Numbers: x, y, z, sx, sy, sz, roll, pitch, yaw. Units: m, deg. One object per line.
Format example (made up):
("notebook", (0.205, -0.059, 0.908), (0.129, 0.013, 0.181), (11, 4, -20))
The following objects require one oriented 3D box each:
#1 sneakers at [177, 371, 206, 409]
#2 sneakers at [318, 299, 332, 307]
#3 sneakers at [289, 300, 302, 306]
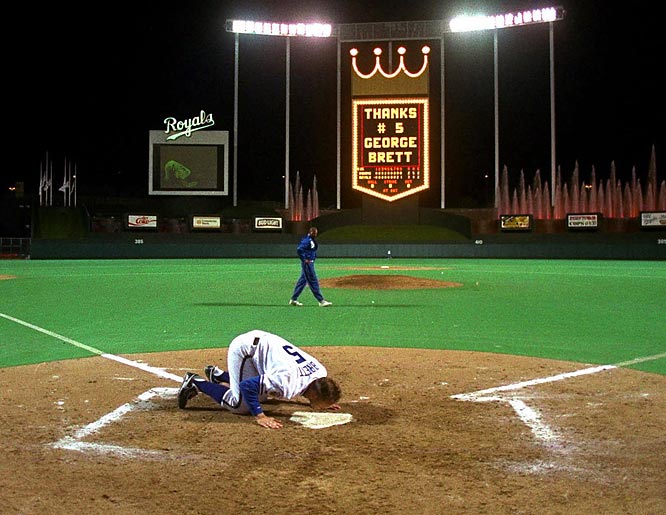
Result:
("sneakers", (-1.609, 1.462, 7.931), (0.204, 0.480, 0.172), (25, -6, -41))
("sneakers", (-0.193, 1.036, 16.315), (0.320, 0.149, 0.129), (-2, 3, -6))
("sneakers", (-0.853, 1.040, 16.574), (0.309, 0.134, 0.119), (3, 12, -34))
